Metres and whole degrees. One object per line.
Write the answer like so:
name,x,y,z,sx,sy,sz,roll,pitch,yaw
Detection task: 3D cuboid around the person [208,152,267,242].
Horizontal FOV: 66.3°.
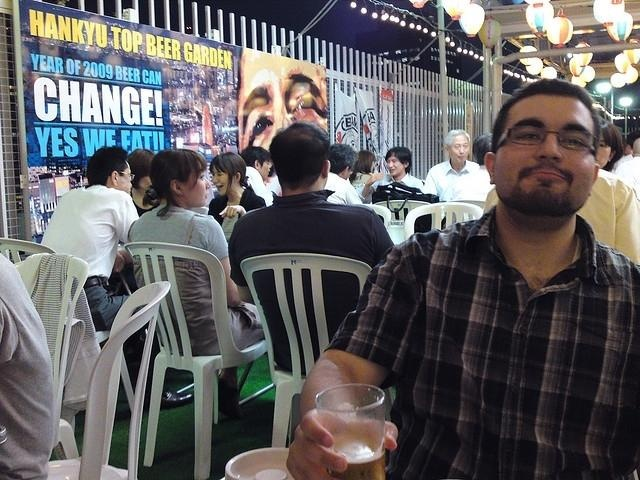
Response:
person,-0.819,-0.332,4.614,0.586,0.888,0.561,-5,-4,10

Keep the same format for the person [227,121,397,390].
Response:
person,-0.065,-0.060,2.850,1.000,1.488,1.076,0,10,7

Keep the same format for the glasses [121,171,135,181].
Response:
glasses,-1.563,-0.513,3.957,0.146,0.050,0.155,-1,0,10

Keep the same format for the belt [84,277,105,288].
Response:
belt,-1.613,0.295,3.513,0.109,0.059,0.153,7,12,32

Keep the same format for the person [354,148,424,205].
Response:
person,1.021,-0.767,6.940,0.616,1.132,1.123,-1,12,-17

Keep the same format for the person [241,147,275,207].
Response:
person,-0.822,-0.759,6.117,0.405,0.824,0.820,0,10,-11

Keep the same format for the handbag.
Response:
handbag,0.845,-0.399,5.157,0.481,0.299,0.627,4,9,18
